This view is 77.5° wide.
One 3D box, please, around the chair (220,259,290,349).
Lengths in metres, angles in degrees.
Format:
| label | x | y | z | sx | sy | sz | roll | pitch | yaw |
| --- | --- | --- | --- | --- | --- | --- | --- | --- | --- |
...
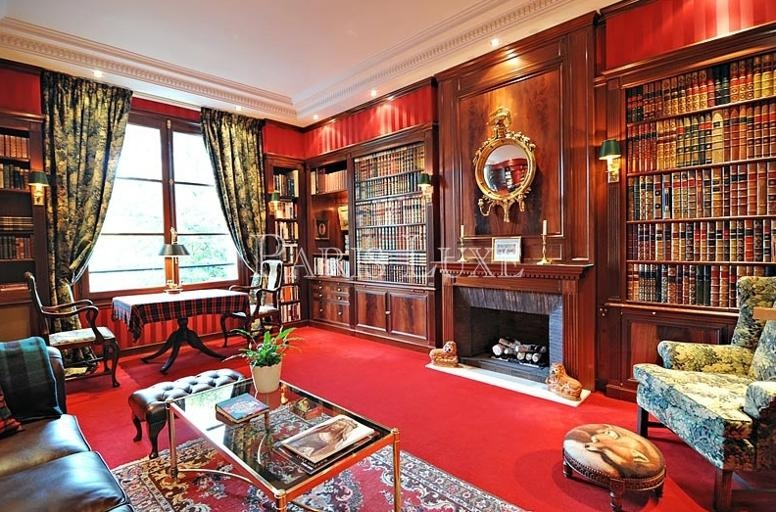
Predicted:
| label | x | y | z | sx | sy | sz | roll | pitch | yaw |
| --- | --- | --- | --- | --- | --- | --- | --- | --- | --- |
| chair | -2.124 | 0.746 | 7.557 | 0.790 | 1.258 | 0.875 | 1 | 5 | 30 |

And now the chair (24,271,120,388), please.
| label | x | y | z | sx | sy | sz | roll | pitch | yaw |
| --- | --- | --- | --- | --- | --- | --- | --- | --- | --- |
| chair | -3.962 | 0.936 | 6.123 | 1.035 | 1.429 | 0.956 | -1 | 1 | -22 |

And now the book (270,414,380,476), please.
| label | x | y | z | sx | sy | sz | roll | pitch | yaw |
| --- | --- | --- | --- | --- | --- | --- | --- | --- | --- |
| book | -0.491 | 1.516 | 3.953 | 0.378 | 0.120 | 0.502 | 7 | 15 | 43 |

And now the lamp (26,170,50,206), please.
| label | x | y | z | sx | sy | sz | roll | pitch | yaw |
| --- | --- | --- | --- | --- | --- | --- | --- | --- | --- |
| lamp | -4.474 | -0.865 | 6.191 | 0.247 | 0.472 | 0.244 | 0 | -6 | -35 |

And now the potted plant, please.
| label | x | y | z | sx | sy | sz | roll | pitch | yaw |
| --- | --- | --- | --- | --- | --- | --- | --- | --- | --- |
| potted plant | -1.102 | 1.028 | 4.613 | 0.681 | 0.500 | 0.536 | 1 | 2 | 10 |

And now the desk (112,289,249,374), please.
| label | x | y | z | sx | sy | sz | roll | pitch | yaw |
| --- | --- | --- | --- | --- | --- | --- | --- | --- | --- |
| desk | -3.009 | 1.042 | 7.063 | 1.306 | 0.944 | 1.825 | -9 | 1 | -36 |

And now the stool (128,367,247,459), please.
| label | x | y | z | sx | sy | sz | roll | pitch | yaw |
| --- | --- | --- | --- | --- | --- | --- | --- | --- | --- |
| stool | -2.033 | 1.590 | 5.055 | 1.078 | 0.528 | 0.705 | -6 | 6 | -42 |
